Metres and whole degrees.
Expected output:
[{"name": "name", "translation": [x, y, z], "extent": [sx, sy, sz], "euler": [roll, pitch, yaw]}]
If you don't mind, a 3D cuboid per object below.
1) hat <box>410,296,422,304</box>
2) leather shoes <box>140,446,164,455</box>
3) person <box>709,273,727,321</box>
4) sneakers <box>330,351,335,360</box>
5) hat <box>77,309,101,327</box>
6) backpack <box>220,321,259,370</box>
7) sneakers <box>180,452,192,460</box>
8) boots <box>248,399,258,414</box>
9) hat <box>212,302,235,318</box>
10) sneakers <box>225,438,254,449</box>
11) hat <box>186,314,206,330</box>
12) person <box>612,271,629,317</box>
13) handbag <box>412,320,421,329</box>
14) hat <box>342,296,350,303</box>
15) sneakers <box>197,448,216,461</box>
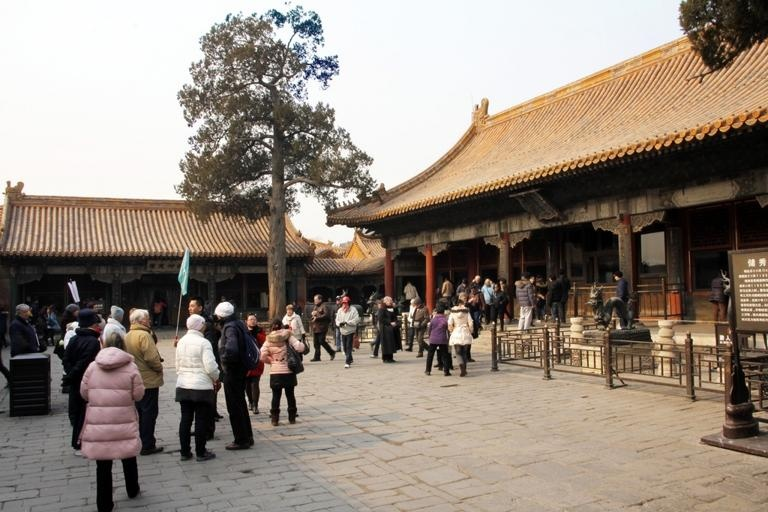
[{"name": "hat", "translation": [0.840, 1.111, 17.201], "extent": [0.240, 0.187, 0.175], "euler": [-2, 4, -15]}, {"name": "leather shoes", "translation": [-3.456, 2.860, 10.050], "extent": [0.309, 0.133, 0.114], "euler": [-1, 2, -26]}, {"name": "person", "translation": [7.850, 0.896, 15.801], "extent": [0.339, 1.194, 2.631], "euler": [-4, -7, 27]}, {"name": "sneakers", "translation": [-1.362, 2.588, 17.488], "extent": [0.084, 0.190, 0.182], "euler": [14, -4, -7]}, {"name": "hat", "translation": [-4.612, 0.929, 10.532], "extent": [0.248, 0.179, 0.322], "euler": [8, 13, -8]}, {"name": "backpack", "translation": [-2.226, 1.376, 10.268], "extent": [0.482, 0.809, 0.845], "euler": [-7, -7, 10]}, {"name": "sneakers", "translation": [-2.870, 2.904, 9.806], "extent": [0.179, 0.109, 0.118], "euler": [2, -7, -21]}, {"name": "boots", "translation": [-2.351, 2.697, 12.099], "extent": [0.115, 0.154, 0.353], "euler": [2, -11, -16]}, {"name": "hat", "translation": [-2.478, 0.838, 10.465], "extent": [0.221, 0.240, 0.289], "euler": [15, 1, -12]}, {"name": "sneakers", "translation": [-2.181, 2.834, 10.190], "extent": [0.396, 0.167, 0.148], "euler": [4, -6, -9]}, {"name": "hat", "translation": [-2.800, 0.983, 10.069], "extent": [0.256, 0.224, 0.194], "euler": [-12, 20, -21]}, {"name": "person", "translation": [5.519, 0.850, 15.630], "extent": [0.286, 1.162, 1.983], "euler": [-3, -6, 20]}, {"name": "handbag", "translation": [0.864, 1.777, 17.485], "extent": [0.163, 0.143, 0.189], "euler": [-1, 1, -1]}, {"name": "hat", "translation": [-0.996, 1.080, 16.889], "extent": [0.188, 0.149, 0.142], "euler": [7, 5, 29]}, {"name": "sneakers", "translation": [-2.561, 2.885, 9.814], "extent": [0.114, 0.122, 0.285], "euler": [1, -1, 42]}]
